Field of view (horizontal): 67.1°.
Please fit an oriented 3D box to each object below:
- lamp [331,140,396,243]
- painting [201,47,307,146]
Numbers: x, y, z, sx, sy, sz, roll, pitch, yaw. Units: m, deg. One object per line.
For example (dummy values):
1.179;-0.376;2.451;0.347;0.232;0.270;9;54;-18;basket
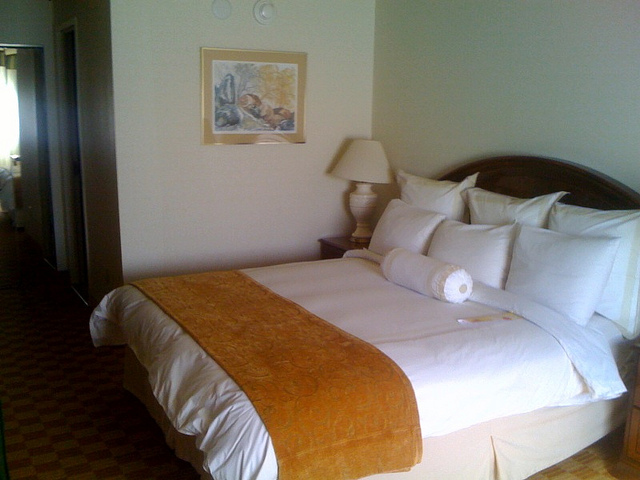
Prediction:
0.488;-0.547;4.948;0.522;1.130;0.528;-6;16;-29;lamp
-0.643;-1.363;4.659;1.295;0.886;0.073;-3;14;-26;painting
